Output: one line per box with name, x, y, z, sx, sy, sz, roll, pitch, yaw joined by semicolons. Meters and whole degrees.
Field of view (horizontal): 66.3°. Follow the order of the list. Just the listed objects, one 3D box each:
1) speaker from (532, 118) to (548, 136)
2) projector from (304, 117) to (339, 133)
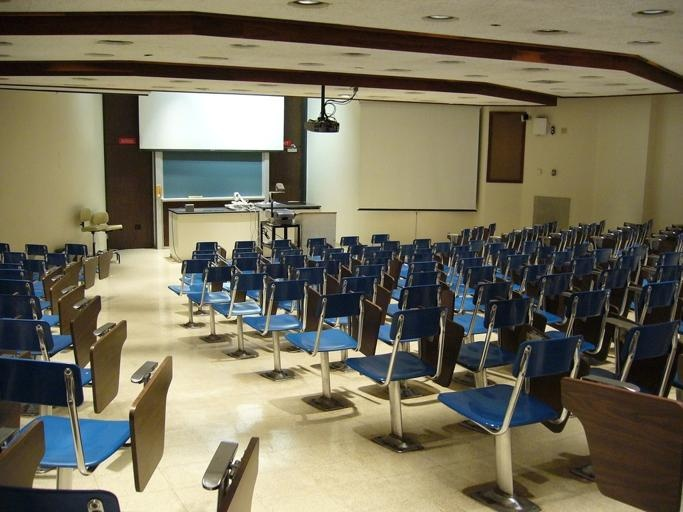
speaker;5.372;-3.546;14.102;0.471;0.553;0.332;4;9;19
projector;-0.330;-2.437;9.661;0.551;0.199;0.537;-3;11;-16
